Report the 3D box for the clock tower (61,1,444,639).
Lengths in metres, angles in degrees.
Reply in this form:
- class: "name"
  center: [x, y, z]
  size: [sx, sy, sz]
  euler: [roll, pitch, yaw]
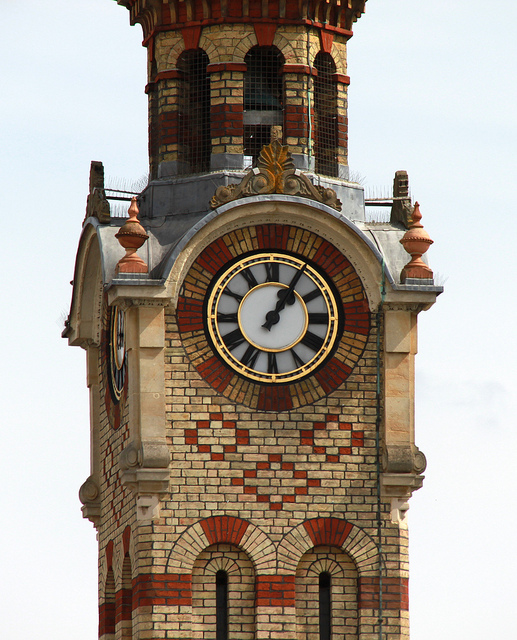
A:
- class: "clock tower"
  center: [0.116, -0.411, 58.721]
  size: [5.722, 13.661, 3.479]
  euler: [0, -28, 2]
